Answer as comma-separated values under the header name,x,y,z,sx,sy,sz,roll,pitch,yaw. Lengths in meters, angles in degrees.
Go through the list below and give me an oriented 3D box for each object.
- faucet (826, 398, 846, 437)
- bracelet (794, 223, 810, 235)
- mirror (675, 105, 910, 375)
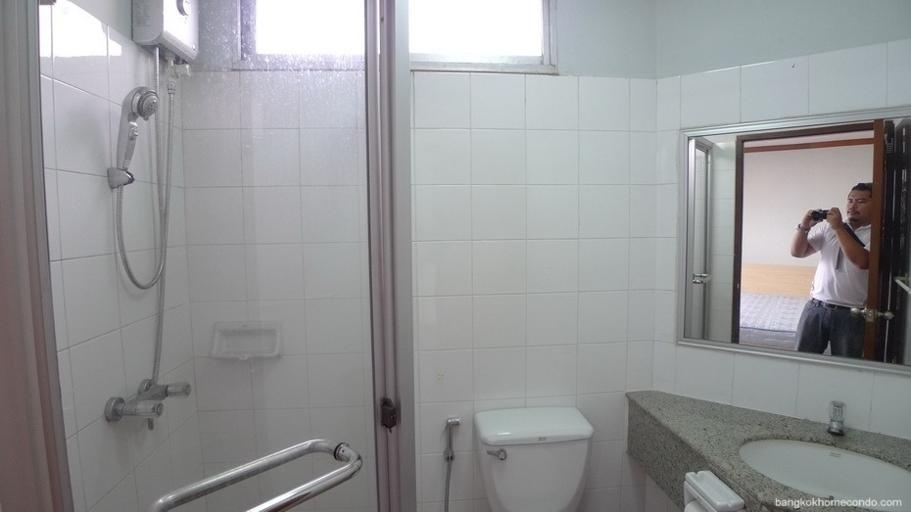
name,x,y,z,sx,sy,sz,roll,pitch,yaw
faucet,1.660,0.703,2.591,0.066,0.139,0.127,2,6,32
bracelet,1.573,-0.121,2.699,0.047,0.030,0.048,3,4,-4
mirror,1.568,-0.090,2.691,1.382,1.303,0.037,0,1,31
